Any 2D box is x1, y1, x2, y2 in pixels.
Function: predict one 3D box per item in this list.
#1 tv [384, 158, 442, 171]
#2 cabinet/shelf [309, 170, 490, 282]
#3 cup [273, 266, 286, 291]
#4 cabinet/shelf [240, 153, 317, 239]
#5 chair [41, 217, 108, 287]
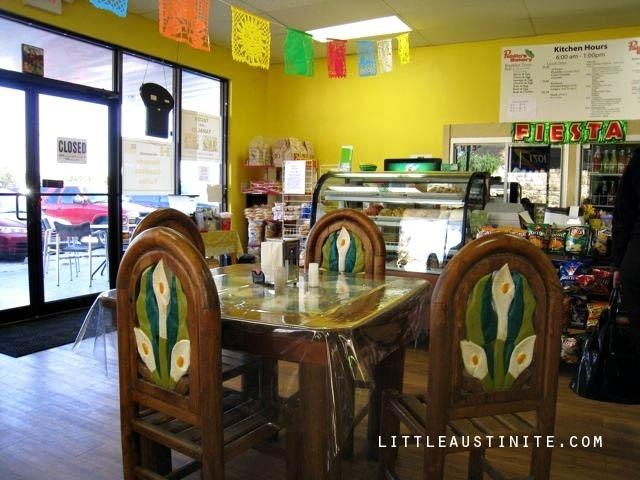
[{"bbox_3d":[1.033,-0.846,5.367,0.404,0.134,0.761,-2,9,-11],"label":"tv"},{"bbox_3d":[0.644,-0.108,3.561,0.947,0.663,0.339,1,1,28],"label":"cabinet/shelf"},{"bbox_3d":[-0.196,0.192,2.404,0.089,0.144,0.090,1,-4,0],"label":"cup"},{"bbox_3d":[-0.563,-0.636,6.842,1.200,1.189,0.427,4,7,35],"label":"cabinet/shelf"},{"bbox_3d":[-2.786,0.132,5.479,0.625,1.056,0.701,1,10,-12],"label":"chair"}]
